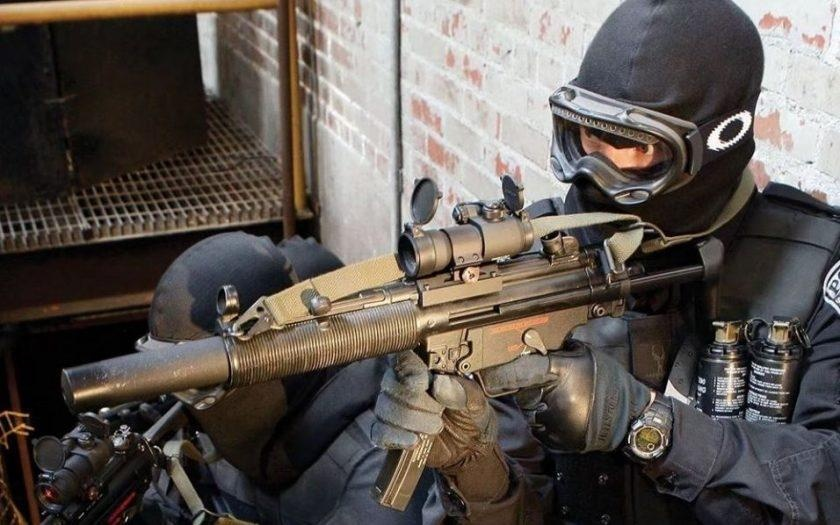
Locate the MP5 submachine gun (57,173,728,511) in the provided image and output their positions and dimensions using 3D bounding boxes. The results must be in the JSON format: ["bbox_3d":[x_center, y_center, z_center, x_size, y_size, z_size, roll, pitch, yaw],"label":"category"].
[{"bbox_3d":[0.018,0.218,2.413,1.897,1.099,0.204,-10,25,-20],"label":"MP5 submachine gun"}]

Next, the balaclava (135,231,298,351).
[{"bbox_3d":[-0.715,0.049,2.912,0.453,0.262,0.316,-24,10,-36],"label":"balaclava"}]

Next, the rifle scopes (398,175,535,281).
[{"bbox_3d":[0.121,-0.107,2.350,0.361,0.254,0.231,-12,17,-21],"label":"rifle scopes"}]

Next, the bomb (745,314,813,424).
[{"bbox_3d":[1.037,0.336,2.466,0.168,0.345,0.146,5,-13,-15],"label":"bomb"}]
